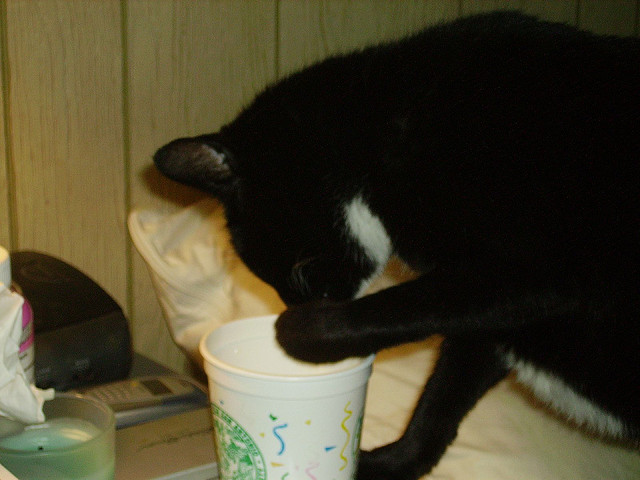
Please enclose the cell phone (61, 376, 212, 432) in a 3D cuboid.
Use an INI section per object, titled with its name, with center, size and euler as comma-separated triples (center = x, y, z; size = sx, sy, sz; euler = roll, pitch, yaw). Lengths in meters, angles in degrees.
[cell phone]
center = -0.261, 0.204, 0.905
size = 0.167, 0.062, 0.093
euler = -2, 31, -37
